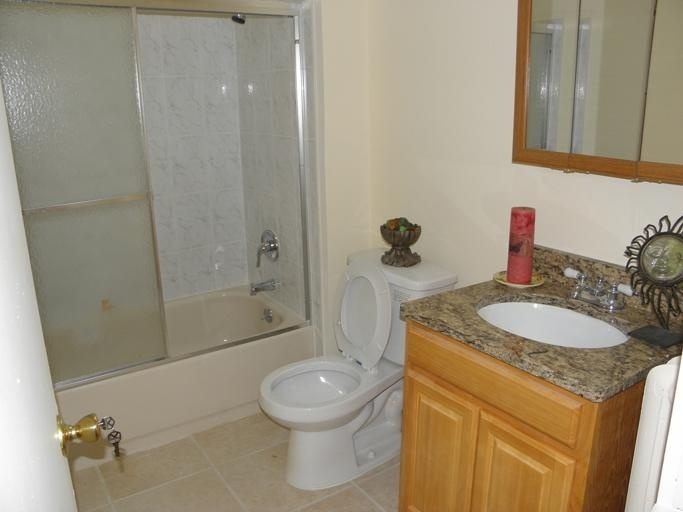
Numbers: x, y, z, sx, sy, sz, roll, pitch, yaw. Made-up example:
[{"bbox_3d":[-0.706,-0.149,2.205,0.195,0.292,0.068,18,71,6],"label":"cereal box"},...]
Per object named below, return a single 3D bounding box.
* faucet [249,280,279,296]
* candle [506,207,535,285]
[{"bbox_3d":[-0.501,0.199,3.337,0.142,0.056,0.111,-12,13,-13],"label":"faucet"},{"bbox_3d":[0.714,-0.046,2.045,0.093,0.288,0.130,3,21,18],"label":"candle"}]
